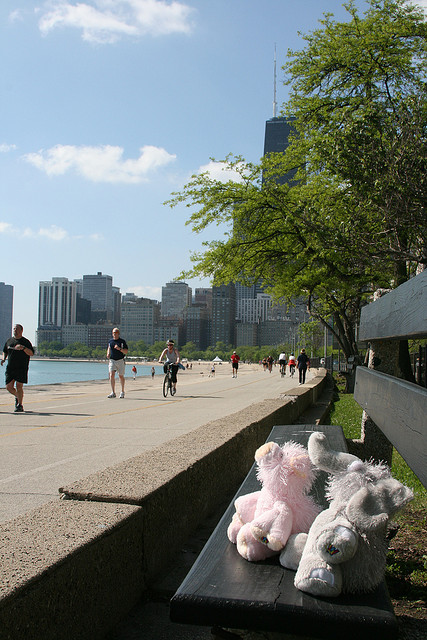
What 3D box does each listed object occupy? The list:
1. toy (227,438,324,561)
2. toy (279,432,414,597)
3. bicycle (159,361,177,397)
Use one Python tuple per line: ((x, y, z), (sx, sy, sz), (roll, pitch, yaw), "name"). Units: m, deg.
((0.273, 0.705, 2.172), (0.354, 0.455, 0.328), (7, -5, -1), "toy")
((0.440, 0.612, 1.760), (0.358, 0.457, 0.269), (-1, -1, 4), "toy")
((-1.472, 2.029, 17.961), (0.603, 0.789, 1.293), (-2, -9, 4), "bicycle")
